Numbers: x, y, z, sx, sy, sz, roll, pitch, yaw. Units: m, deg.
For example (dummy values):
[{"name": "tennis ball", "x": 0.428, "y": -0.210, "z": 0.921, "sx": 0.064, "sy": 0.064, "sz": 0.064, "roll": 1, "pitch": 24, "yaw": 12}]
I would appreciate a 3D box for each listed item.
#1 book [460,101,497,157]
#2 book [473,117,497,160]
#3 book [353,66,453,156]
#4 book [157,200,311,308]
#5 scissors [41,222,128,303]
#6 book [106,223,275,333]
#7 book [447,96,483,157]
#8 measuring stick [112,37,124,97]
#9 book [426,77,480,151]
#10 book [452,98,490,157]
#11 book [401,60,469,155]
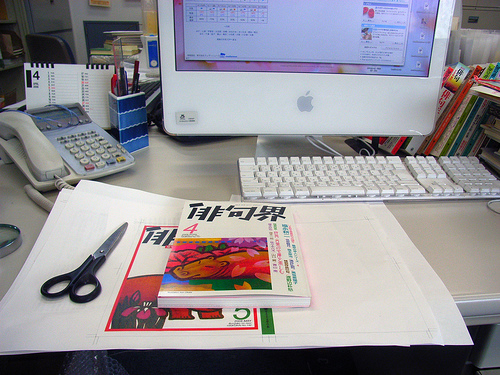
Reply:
[{"name": "book", "x": 0.516, "y": -0.123, "z": 0.813, "sx": 0.040, "sy": 0.088, "sz": 0.070, "roll": 2, "pitch": 20, "yaw": -3}, {"name": "book", "x": 0.532, "y": -0.097, "z": 0.814, "sx": 0.016, "sy": 0.067, "sz": 0.070, "roll": 27, "pitch": 12, "yaw": 34}, {"name": "book", "x": 0.346, "y": -0.200, "z": 0.877, "sx": 0.275, "sy": 0.249, "sz": 0.058, "roll": -12, "pitch": 33, "yaw": 6}, {"name": "book", "x": -0.019, "y": 0.094, "z": 0.559, "sx": 0.206, "sy": 0.045, "sz": 0.208, "roll": 2, "pitch": 29, "yaw": -2}, {"name": "scissors", "x": -0.224, "y": 0.108, "z": 0.531, "sx": 0.074, "sy": 0.031, "sz": 0.159, "roll": 14, "pitch": 31, "yaw": 19}, {"name": "book", "x": -0.074, "y": 0.122, "z": 0.527, "sx": 0.213, "sy": 0.038, "sz": 0.195, "roll": 2, "pitch": 29, "yaw": -2}, {"name": "book", "x": 0.498, "y": -0.145, "z": 0.818, "sx": 0.015, "sy": 0.131, "sz": 0.103, "roll": 24, "pitch": 39, "yaw": 11}, {"name": "measuring stick", "x": -0.327, "y": -0.298, "z": 0.891, "sx": 0.036, "sy": 0.145, "sz": 0.007, "roll": 5, "pitch": 12, "yaw": 25}, {"name": "book", "x": 0.469, "y": -0.176, "z": 0.815, "sx": 0.020, "sy": 0.176, "sz": 0.138, "roll": 31, "pitch": 30, "yaw": 6}, {"name": "book", "x": 0.490, "y": -0.135, "z": 0.814, "sx": 0.050, "sy": 0.114, "sz": 0.096, "roll": 5, "pitch": 19, "yaw": 7}, {"name": "book", "x": 0.481, "y": -0.173, "z": 0.877, "sx": 0.052, "sy": 0.200, "sz": 0.202, "roll": 27, "pitch": -5, "yaw": -11}]
